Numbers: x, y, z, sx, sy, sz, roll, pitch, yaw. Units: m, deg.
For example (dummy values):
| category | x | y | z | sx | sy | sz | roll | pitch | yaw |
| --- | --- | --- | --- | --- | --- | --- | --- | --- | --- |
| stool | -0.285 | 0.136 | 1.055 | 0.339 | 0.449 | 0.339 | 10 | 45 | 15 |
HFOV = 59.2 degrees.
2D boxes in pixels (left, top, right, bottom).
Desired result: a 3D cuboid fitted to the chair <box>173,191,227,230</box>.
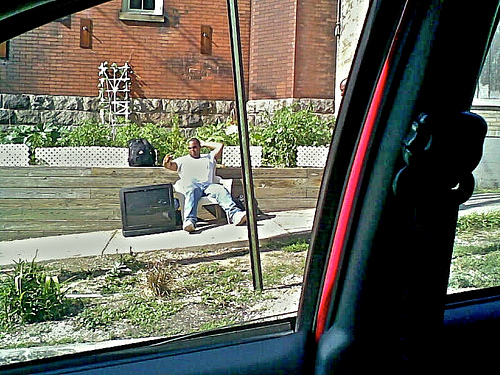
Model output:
| category | x | y | z | sx | sy | sz | roll | pitch | yaw |
| --- | --- | --- | --- | --- | --- | --- | --- | --- | --- |
| chair | -0.726 | 0.318 | 6.397 | 0.752 | 0.562 | 0.331 | -3 | -10 | -11 |

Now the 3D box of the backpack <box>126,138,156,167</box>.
| category | x | y | z | sx | sy | sz | roll | pitch | yaw |
| --- | --- | --- | --- | --- | --- | --- | --- | --- | --- |
| backpack | -1.865 | -0.548 | 7.407 | 0.515 | 0.537 | 0.387 | 0 | -6 | 4 |
